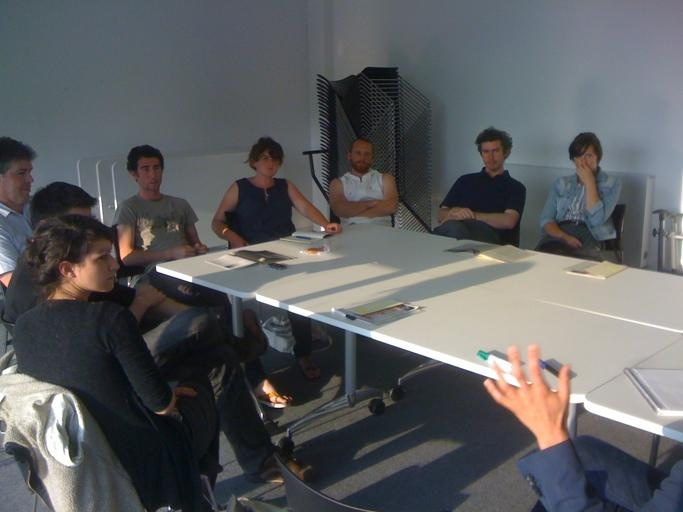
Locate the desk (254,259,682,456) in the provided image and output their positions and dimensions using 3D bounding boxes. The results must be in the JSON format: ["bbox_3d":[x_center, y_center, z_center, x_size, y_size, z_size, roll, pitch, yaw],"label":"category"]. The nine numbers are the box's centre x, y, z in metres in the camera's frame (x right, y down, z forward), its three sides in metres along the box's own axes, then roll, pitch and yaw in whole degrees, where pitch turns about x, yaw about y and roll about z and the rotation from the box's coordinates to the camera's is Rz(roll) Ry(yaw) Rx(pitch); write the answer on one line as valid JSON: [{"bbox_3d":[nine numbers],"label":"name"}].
[{"bbox_3d":[0.718,0.247,2.260,1.066,0.582,1.042,13,22,43],"label":"desk"}]

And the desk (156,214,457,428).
[{"bbox_3d":[-0.067,0.100,2.909,1.169,0.607,1.055,-12,18,-42],"label":"desk"}]

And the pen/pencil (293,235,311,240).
[{"bbox_3d":[-0.259,-0.117,3.474,0.115,0.010,0.017,7,30,41],"label":"pen/pencil"}]

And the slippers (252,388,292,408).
[{"bbox_3d":[-0.398,0.803,2.982,0.233,0.069,0.096,9,17,34],"label":"slippers"}]

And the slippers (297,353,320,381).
[{"bbox_3d":[-0.211,0.713,3.421,0.070,0.104,0.229,-13,17,-29],"label":"slippers"}]

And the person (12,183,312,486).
[{"bbox_3d":[-0.742,0.498,2.190,0.535,1.368,0.890,-15,11,28],"label":"person"}]
